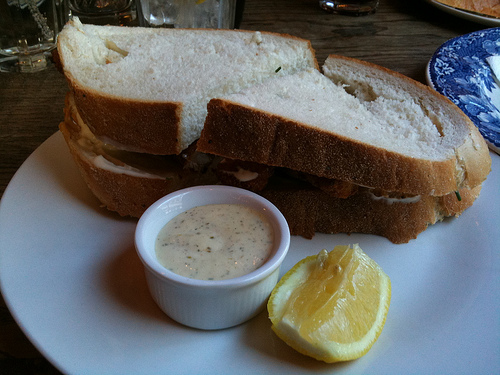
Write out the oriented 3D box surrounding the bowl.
[{"bbox_3d":[-0.142,0.214,1.588,0.512,0.167,0.516,2,53,-2],"label":"bowl"}]
